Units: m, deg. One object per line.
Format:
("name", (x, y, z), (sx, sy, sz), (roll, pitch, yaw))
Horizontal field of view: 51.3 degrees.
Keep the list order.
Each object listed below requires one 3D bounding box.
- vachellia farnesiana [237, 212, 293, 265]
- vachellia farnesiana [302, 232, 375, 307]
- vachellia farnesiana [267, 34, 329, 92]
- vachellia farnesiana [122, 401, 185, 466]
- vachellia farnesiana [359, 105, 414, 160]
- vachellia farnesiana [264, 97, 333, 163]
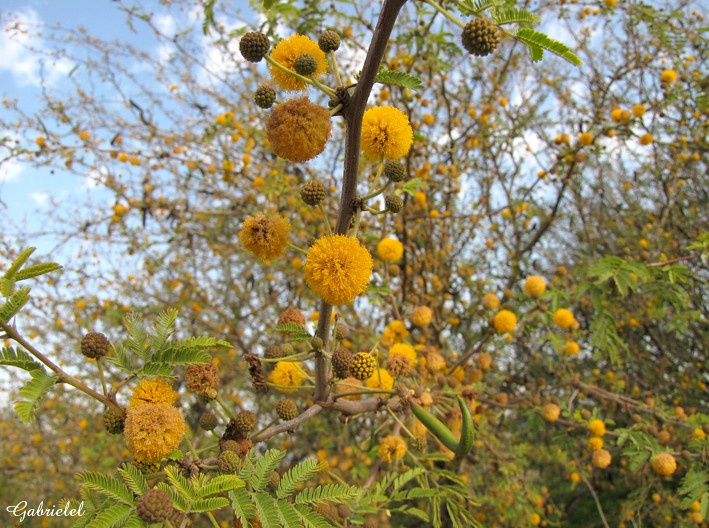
("vachellia farnesiana", (-0.510, -0.131, 4.166), (0.293, 0.318, 0.293), (-3, 0, -33))
("vachellia farnesiana", (-0.084, 0.016, 3.941), (0.334, 0.376, 0.354), (1, 5, -1))
("vachellia farnesiana", (-0.282, -1.124, 4.096), (0.258, 0.309, 0.264), (2, 6, 42))
("vachellia farnesiana", (-1.157, 0.939, 4.119), (0.318, 0.356, 0.339), (17, 12, -17))
("vachellia farnesiana", (0.169, -0.729, 4.191), (0.317, 0.355, 0.342), (2, 36, 1))
("vachellia farnesiana", (-0.322, -0.717, 4.085), (0.347, 0.380, 0.331), (7, -17, -8))
